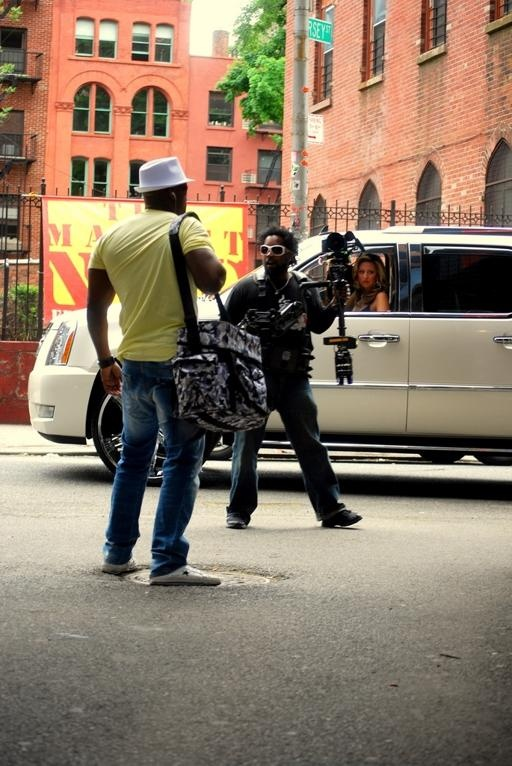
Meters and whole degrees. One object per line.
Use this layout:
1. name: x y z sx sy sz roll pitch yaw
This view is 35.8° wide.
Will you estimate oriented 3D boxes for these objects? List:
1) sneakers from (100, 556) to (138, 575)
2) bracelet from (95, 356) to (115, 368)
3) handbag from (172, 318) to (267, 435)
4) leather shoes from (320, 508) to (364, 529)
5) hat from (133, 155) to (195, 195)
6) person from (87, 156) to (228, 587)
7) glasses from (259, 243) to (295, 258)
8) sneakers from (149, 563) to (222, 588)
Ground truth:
1. sneakers: -0.666 0.906 3.901 0.067 0.065 0.157 5 5 40
2. bracelet: -0.737 -0.101 3.846 0.062 0.036 0.060 -4 7 16
3. handbag: -0.170 -0.020 3.374 0.301 0.501 0.521 -10 -13 40
4. leather shoes: 0.590 0.933 5.472 0.344 0.150 0.125 -7 0 12
5. hat: -0.408 -0.975 3.642 0.223 0.081 0.171 -24 28 -33
6. person: -0.454 -0.058 3.629 0.481 1.992 0.850 4 -3 -39
7. glasses: 0.134 -0.853 5.144 0.207 0.084 0.124 2 -2 1
8. sneakers: -0.327 0.912 3.725 0.348 0.106 0.118 1 0 -11
